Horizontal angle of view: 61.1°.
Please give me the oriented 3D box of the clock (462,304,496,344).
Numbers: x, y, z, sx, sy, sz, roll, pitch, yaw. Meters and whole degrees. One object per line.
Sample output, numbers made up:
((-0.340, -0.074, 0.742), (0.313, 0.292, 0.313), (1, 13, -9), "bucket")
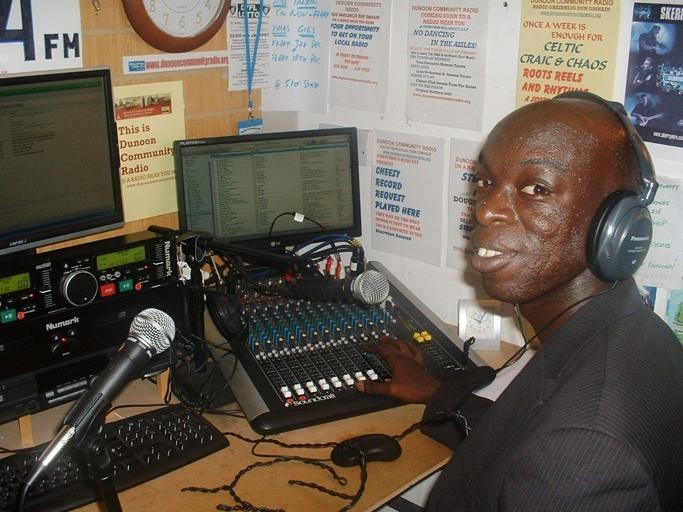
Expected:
((0.437, 0.219, 1.823), (0.147, 0.139, 0.021), (0, -10, 8), "clock")

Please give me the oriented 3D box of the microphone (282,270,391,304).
((-0.025, 0.073, 1.664), (0.244, 0.079, 0.126), (1, 4, 19), "microphone")

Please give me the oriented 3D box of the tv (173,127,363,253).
((-0.243, -0.208, 1.936), (0.685, 0.384, 0.170), (-10, 20, -36), "tv")

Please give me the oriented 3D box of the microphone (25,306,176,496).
((-0.441, 0.266, 1.074), (0.058, 0.269, 0.320), (13, 22, 39), "microphone")

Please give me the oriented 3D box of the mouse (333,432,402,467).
((0.055, 0.448, 1.357), (0.122, 0.023, 0.066), (-2, 15, -9), "mouse")
